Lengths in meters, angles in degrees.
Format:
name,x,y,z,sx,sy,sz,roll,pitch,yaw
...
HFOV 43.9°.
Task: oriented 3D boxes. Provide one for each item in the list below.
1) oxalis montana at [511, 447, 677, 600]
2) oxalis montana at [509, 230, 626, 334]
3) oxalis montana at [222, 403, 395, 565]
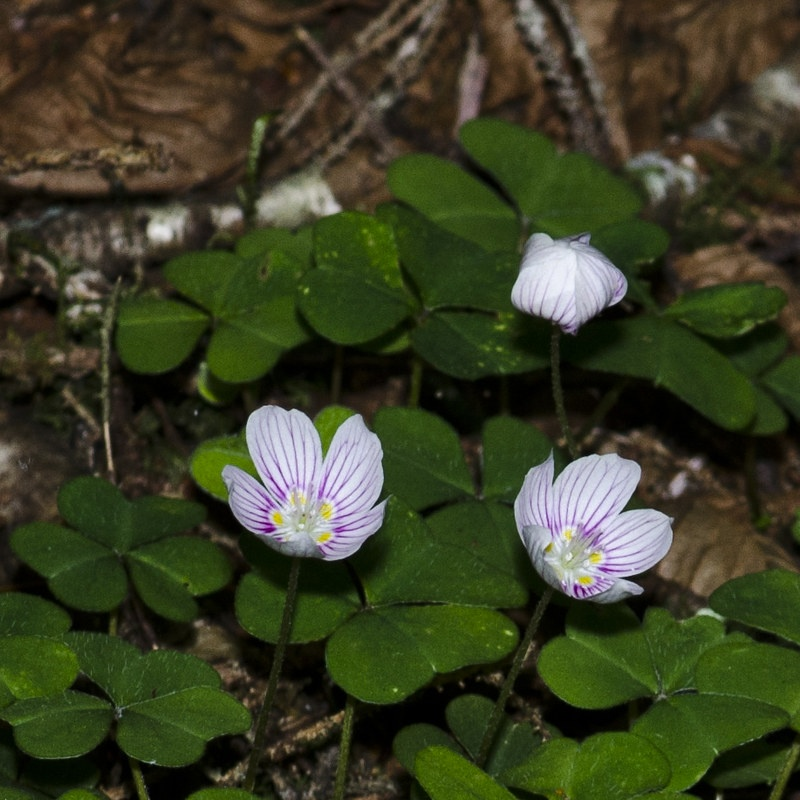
name,x,y,z,sx,sy,sz,roll,pitch,yaw
oxalis montana,0.434,0.274,2.169,0.326,0.186,0.354,49,28,0
oxalis montana,0.379,-0.261,2.356,0.238,0.202,0.240,31,41,23
oxalis montana,-0.215,0.195,2.097,0.328,0.243,0.350,2,28,41
